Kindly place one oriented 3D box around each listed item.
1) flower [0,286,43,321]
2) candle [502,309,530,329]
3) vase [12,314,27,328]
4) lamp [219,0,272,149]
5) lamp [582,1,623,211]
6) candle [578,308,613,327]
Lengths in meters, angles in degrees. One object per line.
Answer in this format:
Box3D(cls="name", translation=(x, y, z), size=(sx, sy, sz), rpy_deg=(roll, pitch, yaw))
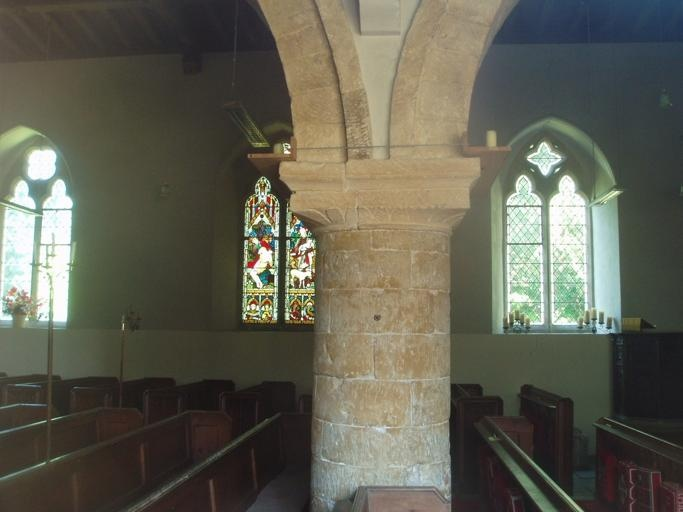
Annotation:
Box3D(cls="flower", translation=(-5.137, 0.735, 10.705), size=(0.592, 0.557, 0.440), rpy_deg=(-2, -7, 11))
Box3D(cls="candle", translation=(2.576, 0.965, 9.914), size=(0.294, 0.232, 0.313), rpy_deg=(0, -9, 6))
Box3D(cls="vase", translation=(-5.023, 1.001, 10.484), size=(0.176, 0.170, 0.192), rpy_deg=(6, -10, -44))
Box3D(cls="lamp", translation=(-1.420, -2.742, 10.037), size=(0.558, 1.969, 1.495), rpy_deg=(-1, -7, 2))
Box3D(cls="lamp", translation=(3.853, -2.206, 9.985), size=(0.430, 2.831, 1.298), rpy_deg=(-3, -7, 20))
Box3D(cls="candle", translation=(3.730, 0.936, 9.889), size=(0.327, 0.239, 0.325), rpy_deg=(8, -10, -35))
